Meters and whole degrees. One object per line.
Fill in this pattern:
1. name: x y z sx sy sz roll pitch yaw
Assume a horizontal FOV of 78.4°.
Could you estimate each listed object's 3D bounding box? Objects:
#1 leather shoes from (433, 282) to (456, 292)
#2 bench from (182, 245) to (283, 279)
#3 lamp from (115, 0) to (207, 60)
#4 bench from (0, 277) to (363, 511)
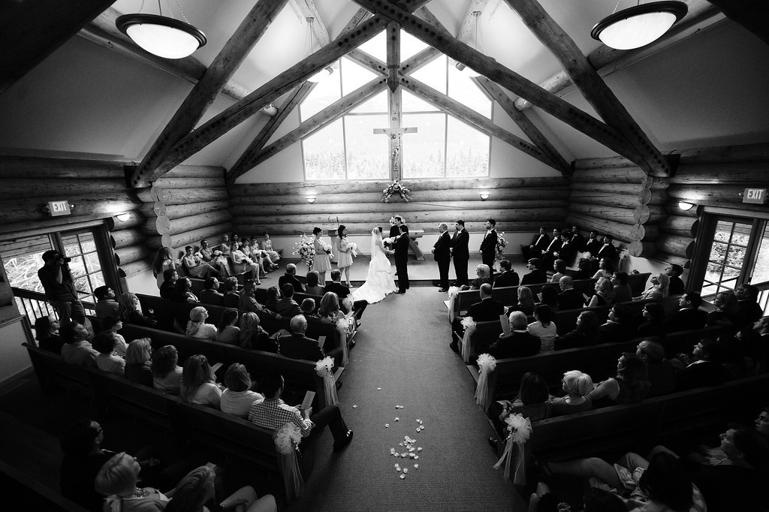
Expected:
1. leather shoes: 1.624 0.810 12.749 0.618 0.265 0.208 -4 20 5
2. bench: -4.680 0.196 13.433 1.322 0.560 1.381 0 15 -1
3. lamp: -3.797 -3.776 8.247 1.026 1.147 1.031 -8 -8 5
4. bench: -4.031 2.477 8.229 6.819 2.121 1.786 2 8 21
